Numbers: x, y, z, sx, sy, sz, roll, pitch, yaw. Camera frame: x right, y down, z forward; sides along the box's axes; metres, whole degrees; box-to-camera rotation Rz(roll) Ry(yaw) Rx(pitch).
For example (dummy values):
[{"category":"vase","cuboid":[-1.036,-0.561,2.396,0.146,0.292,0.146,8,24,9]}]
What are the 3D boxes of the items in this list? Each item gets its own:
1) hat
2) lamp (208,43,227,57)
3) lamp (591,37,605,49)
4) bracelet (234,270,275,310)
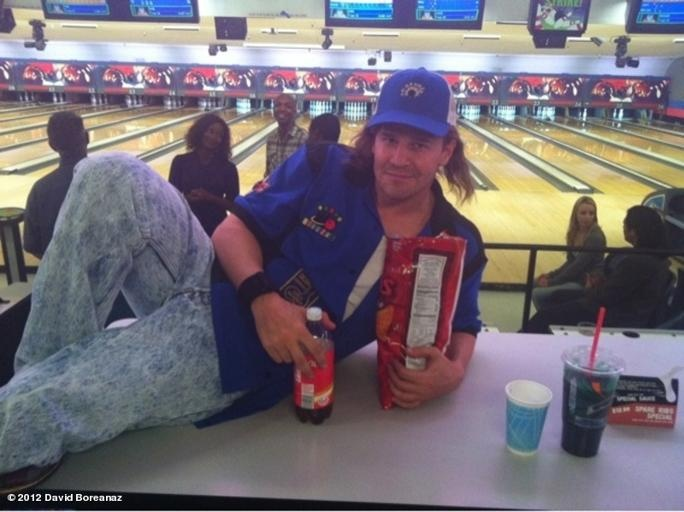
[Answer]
[{"category":"hat","cuboid":[0.200,-0.416,1.350,0.171,0.126,0.234,11,20,17]},{"category":"lamp","cuboid":[-2.117,-3.514,8.461,0.260,0.195,1.403,-5,20,-10]},{"category":"lamp","cuboid":[3.123,-2.613,6.076,0.112,0.089,1.134,9,22,26]},{"category":"bracelet","cuboid":[-0.221,0.082,1.242,0.083,0.063,0.084,-30,4,23]}]
